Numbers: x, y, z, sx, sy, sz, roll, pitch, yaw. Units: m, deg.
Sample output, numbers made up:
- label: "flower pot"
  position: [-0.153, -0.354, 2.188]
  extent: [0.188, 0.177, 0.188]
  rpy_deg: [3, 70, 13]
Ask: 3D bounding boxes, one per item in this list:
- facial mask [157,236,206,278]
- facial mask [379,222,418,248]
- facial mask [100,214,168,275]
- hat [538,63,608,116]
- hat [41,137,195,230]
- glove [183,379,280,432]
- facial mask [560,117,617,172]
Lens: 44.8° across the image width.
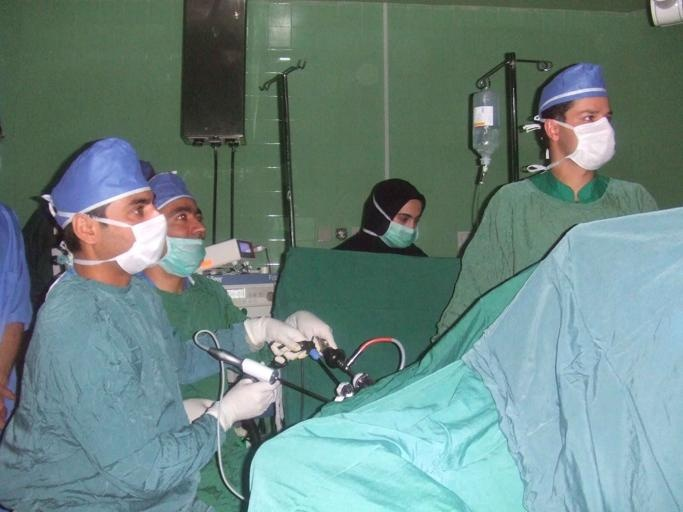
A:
- label: "facial mask"
  position: [-0.784, 0.005, 4.162]
  extent: [0.198, 0.130, 0.162]
  rpy_deg: [4, 7, 44]
- label: "facial mask"
  position: [0.365, -0.123, 5.134]
  extent: [0.146, 0.110, 0.173]
  rpy_deg: [3, 30, -43]
- label: "facial mask"
  position: [-0.891, -0.083, 3.625]
  extent: [0.232, 0.193, 0.236]
  rpy_deg: [-18, 8, -8]
- label: "hat"
  position: [1.160, -0.821, 4.041]
  extent: [0.217, 0.169, 0.307]
  rpy_deg: [-6, -6, 17]
- label: "hat"
  position: [-1.009, -0.271, 3.615]
  extent: [0.419, 0.255, 0.340]
  rpy_deg: [-27, 3, 12]
- label: "glove"
  position: [-0.477, 0.726, 3.646]
  extent: [0.347, 0.117, 0.241]
  rpy_deg: [-22, 7, 29]
- label: "facial mask"
  position: [1.157, -0.505, 3.917]
  extent: [0.202, 0.191, 0.211]
  rpy_deg: [6, -13, -38]
